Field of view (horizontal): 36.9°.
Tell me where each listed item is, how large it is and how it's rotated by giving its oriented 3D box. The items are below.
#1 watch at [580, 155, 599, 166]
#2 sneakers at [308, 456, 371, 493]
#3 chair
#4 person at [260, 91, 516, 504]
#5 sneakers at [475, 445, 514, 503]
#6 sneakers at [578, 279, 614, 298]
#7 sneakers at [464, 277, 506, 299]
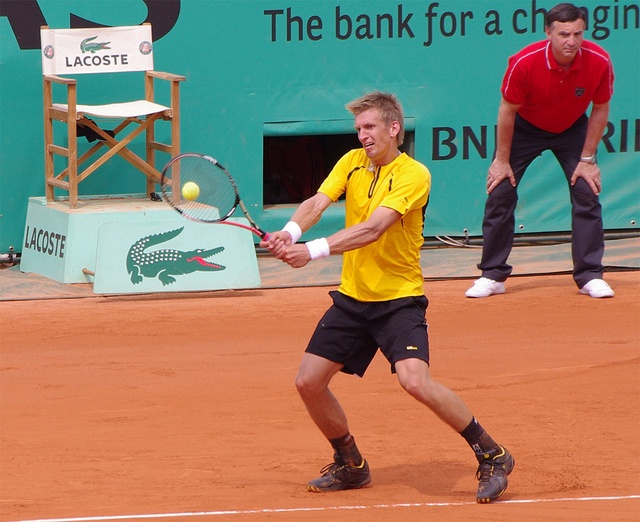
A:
[{"bbox_3d":[2.253,-0.847,8.078,0.092,0.081,0.093,-2,1,30],"label":"watch"},{"bbox_3d":[0.109,1.152,5.202,0.392,0.224,0.145,1,-6,-4],"label":"sneakers"},{"bbox_3d":[-1.965,-1.361,8.998,1.259,1.728,1.009,-3,4,-16],"label":"chair"},{"bbox_3d":[0.327,0.175,5.089,1.190,2.139,0.516,-1,4,12],"label":"person"},{"bbox_3d":[0.899,1.101,4.988,0.218,0.274,0.184,-2,4,-4],"label":"sneakers"},{"bbox_3d":[2.369,0.237,8.233,0.131,0.089,0.263,-1,-4,-16],"label":"sneakers"},{"bbox_3d":[1.435,0.235,8.435,0.406,0.152,0.141,1,-4,-33],"label":"sneakers"}]
